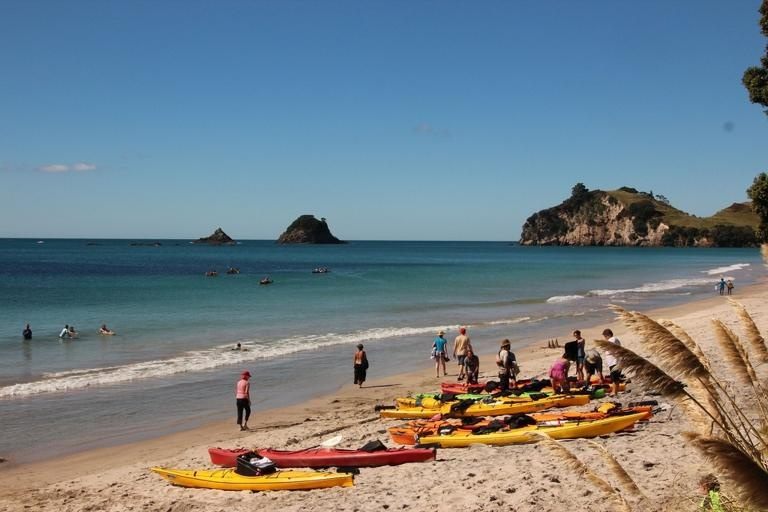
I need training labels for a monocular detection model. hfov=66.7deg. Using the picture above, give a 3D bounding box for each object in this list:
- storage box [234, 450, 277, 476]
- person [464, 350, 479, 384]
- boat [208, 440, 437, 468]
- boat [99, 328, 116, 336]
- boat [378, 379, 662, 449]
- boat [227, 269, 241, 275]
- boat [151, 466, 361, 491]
[{"bbox_3d":[-3.399,5.525,15.466,0.796,0.236,0.580,5,1,25],"label":"storage box"},{"bbox_3d":[3.150,4.047,21.157,0.574,1.183,0.785,-13,11,5],"label":"person"},{"bbox_3d":[-1.474,5.429,15.928,6.258,0.573,1.014,-2,-1,7],"label":"boat"},{"bbox_3d":[-16.852,4.619,35.630,0.484,0.253,1.491,1,1,-41],"label":"boat"},{"bbox_3d":[3.757,4.666,16.834,7.292,0.711,3.117,-6,9,7],"label":"boat"},{"bbox_3d":[-22.012,2.352,86.019,1.573,1.010,2.223,1,3,-1],"label":"boat"},{"bbox_3d":[-3.127,5.815,15.221,4.378,0.321,0.797,0,-5,9],"label":"boat"}]
